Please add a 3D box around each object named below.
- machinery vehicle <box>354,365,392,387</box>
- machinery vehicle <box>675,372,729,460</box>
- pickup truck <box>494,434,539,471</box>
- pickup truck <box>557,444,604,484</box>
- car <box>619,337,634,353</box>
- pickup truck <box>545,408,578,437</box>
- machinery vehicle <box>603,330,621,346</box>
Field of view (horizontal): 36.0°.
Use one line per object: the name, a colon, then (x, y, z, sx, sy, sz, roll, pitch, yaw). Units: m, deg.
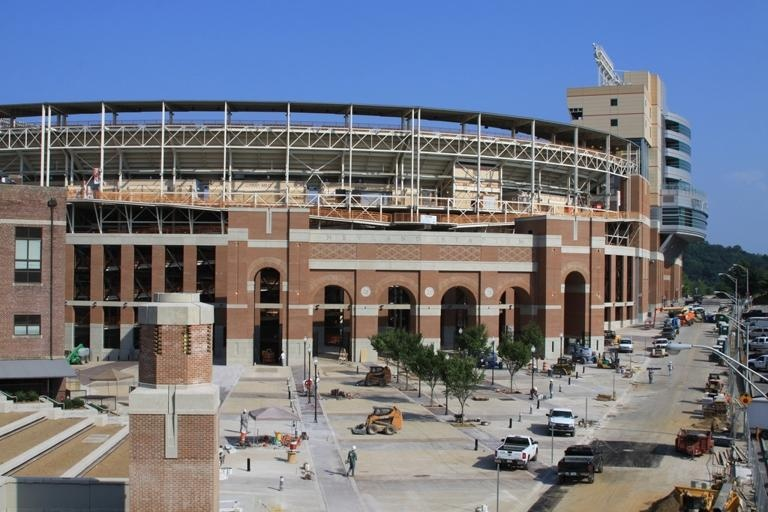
machinery vehicle: (-1.006, 13.081, 128.279, 2.564, 2.042, 3.723, -3, -3, 30)
machinery vehicle: (28.644, 15.582, 112.396, 3.376, 5.969, 16.729, -3, -1, 25)
pickup truck: (11.626, 16.913, 102.216, 2.294, 1.265, 3.962, 1, 3, 22)
pickup truck: (16.659, 17.519, 101.040, 3.214, 2.278, 6.507, 0, 5, 18)
car: (29.846, 11.051, 146.589, 1.582, 1.099, 3.166, -2, -7, 11)
pickup truck: (16.291, 15.530, 109.105, 2.332, 2.240, 2.250, -1, -3, -1)
machinery vehicle: (30.052, 10.900, 156.884, 2.438, 1.213, 2.788, -2, -6, 7)
